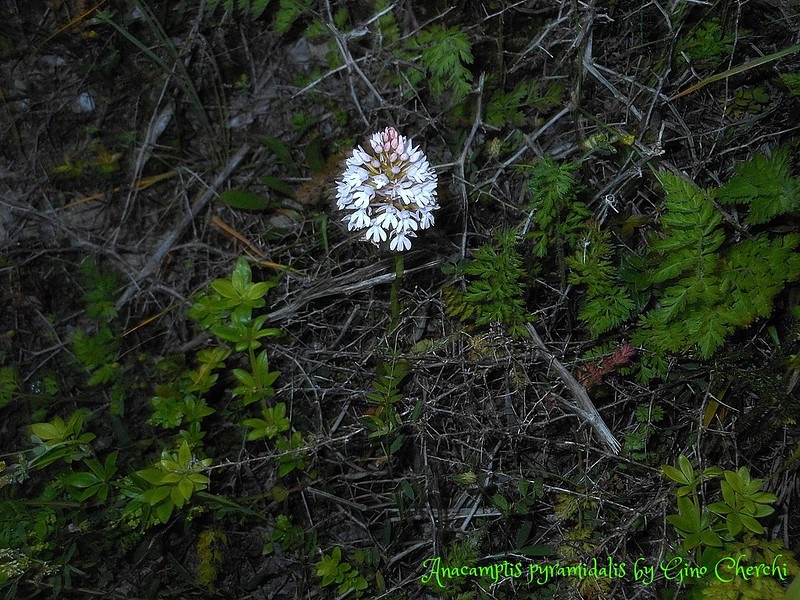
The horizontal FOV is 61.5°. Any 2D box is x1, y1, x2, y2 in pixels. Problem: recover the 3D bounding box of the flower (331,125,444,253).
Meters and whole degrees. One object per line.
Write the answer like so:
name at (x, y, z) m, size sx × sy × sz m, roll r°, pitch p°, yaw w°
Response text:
flower at (-0.054, -0.464, 3.309) m, size 0.470 × 0.606 × 0.599 m, roll -10°, pitch 76°, yaw 1°
